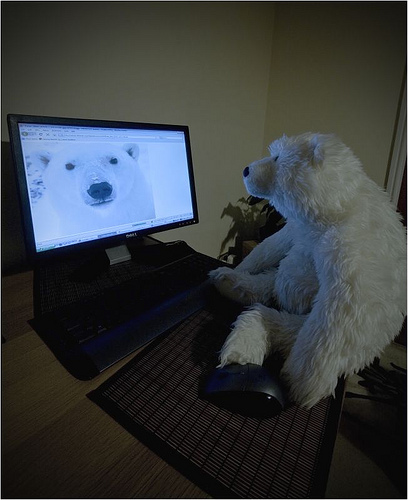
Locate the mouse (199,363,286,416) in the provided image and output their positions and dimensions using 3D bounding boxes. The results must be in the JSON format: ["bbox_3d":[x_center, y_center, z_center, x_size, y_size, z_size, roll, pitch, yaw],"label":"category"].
[{"bbox_3d":[0.049,0.181,0.476,0.088,0.032,0.060,1,40,5],"label":"mouse"}]

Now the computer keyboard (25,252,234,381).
[{"bbox_3d":[-0.116,0.093,0.709,0.197,0.051,0.397,9,24,39],"label":"computer keyboard"}]
